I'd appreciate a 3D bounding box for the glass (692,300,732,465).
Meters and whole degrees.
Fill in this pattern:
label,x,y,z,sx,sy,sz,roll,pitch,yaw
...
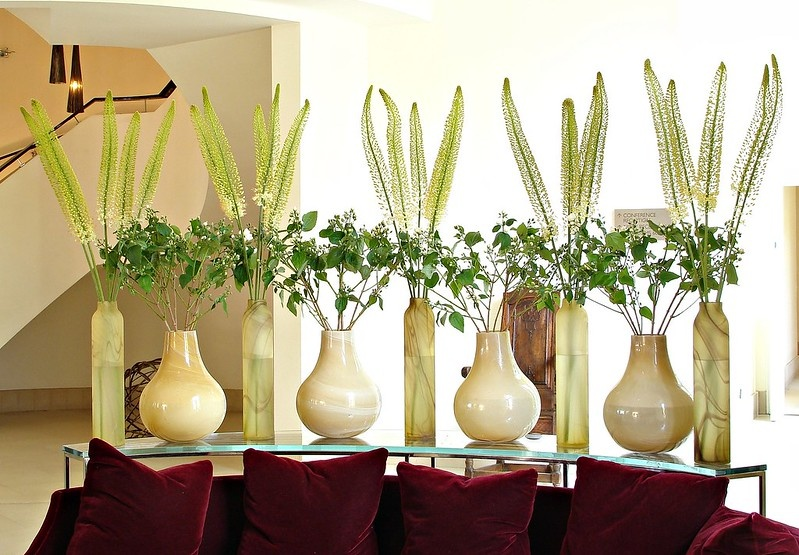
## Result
label,x,y,z,sx,sy,sz,roll,pitch,yaw
glass,1.163,0.390,2.328,0.120,0.582,0.062,1,1,31

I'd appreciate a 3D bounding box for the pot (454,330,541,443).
label,x,y,z,sx,sy,sz,roll,pitch,yaw
pot,0.412,0.410,2.618,0.412,0.547,0.382,-1,-2,0

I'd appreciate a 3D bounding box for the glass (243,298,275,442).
label,x,y,z,sx,sy,sz,roll,pitch,yaw
glass,-0.596,0.396,2.658,0.133,0.592,0.135,1,0,-14

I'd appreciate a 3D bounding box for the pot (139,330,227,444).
label,x,y,z,sx,sy,sz,roll,pitch,yaw
pot,-0.933,0.460,2.687,0.337,0.473,0.342,0,2,0

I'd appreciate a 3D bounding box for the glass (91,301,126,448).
label,x,y,z,sx,sy,sz,roll,pitch,yaw
glass,-1.224,0.401,2.636,0.117,0.604,0.137,1,0,-26

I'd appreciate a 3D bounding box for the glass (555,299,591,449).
label,x,y,z,sx,sy,sz,roll,pitch,yaw
glass,0.683,0.382,2.462,0.131,0.481,0.110,1,0,17

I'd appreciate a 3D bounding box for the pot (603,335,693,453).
label,x,y,z,sx,sy,sz,roll,pitch,yaw
pot,0.978,0.456,2.446,0.315,0.477,0.333,-1,-1,0

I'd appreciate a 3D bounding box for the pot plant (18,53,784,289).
label,x,y,z,sx,sy,sz,roll,pitch,yaw
pot plant,0.413,-0.425,2.997,2.649,1.310,0.689,2,-5,12

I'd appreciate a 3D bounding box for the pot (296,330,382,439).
label,x,y,z,sx,sy,sz,roll,pitch,yaw
pot,-0.258,0.447,2.668,0.332,0.470,0.343,3,2,0
